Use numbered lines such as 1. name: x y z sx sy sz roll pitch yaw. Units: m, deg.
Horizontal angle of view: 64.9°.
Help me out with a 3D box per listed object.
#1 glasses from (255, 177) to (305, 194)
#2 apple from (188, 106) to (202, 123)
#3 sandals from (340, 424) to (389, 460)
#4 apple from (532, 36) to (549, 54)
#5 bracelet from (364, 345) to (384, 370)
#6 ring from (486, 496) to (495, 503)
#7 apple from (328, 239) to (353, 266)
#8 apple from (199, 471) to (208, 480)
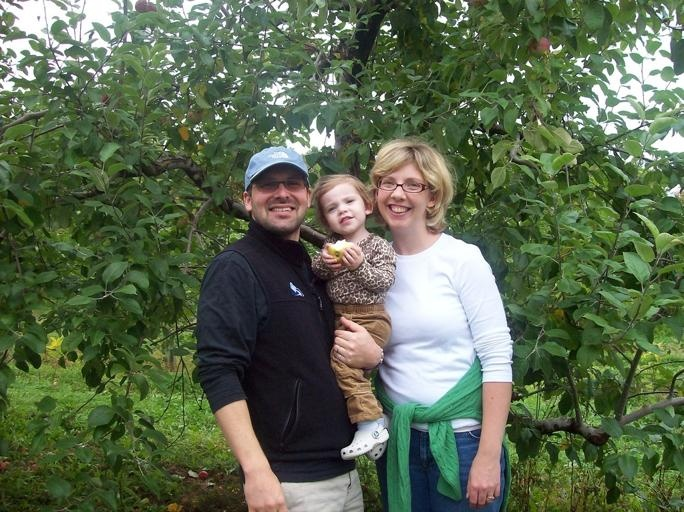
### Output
1. glasses: -0.299 -0.342 2.556 0.110 0.045 0.143 2 -5 -18
2. apple: -0.946 -0.914 3.469 0.094 0.084 0.091 -5 -15 -3
3. sandals: 0.097 0.858 2.483 0.132 0.097 0.236 -20 -19 32
4. apple: 1.015 -1.074 2.726 0.083 0.075 0.082 3 -16 32
5. bracelet: 0.160 0.498 2.574 0.089 0.106 0.041 -3 20 -10
6. ring: 0.667 1.109 2.428 0.031 0.032 0.034 0 4 0
7. apple: -0.011 -0.014 2.683 0.102 0.102 0.107 32 -35 -28
8. apple: -1.316 2.074 5.069 0.062 0.071 0.081 15 7 -17
